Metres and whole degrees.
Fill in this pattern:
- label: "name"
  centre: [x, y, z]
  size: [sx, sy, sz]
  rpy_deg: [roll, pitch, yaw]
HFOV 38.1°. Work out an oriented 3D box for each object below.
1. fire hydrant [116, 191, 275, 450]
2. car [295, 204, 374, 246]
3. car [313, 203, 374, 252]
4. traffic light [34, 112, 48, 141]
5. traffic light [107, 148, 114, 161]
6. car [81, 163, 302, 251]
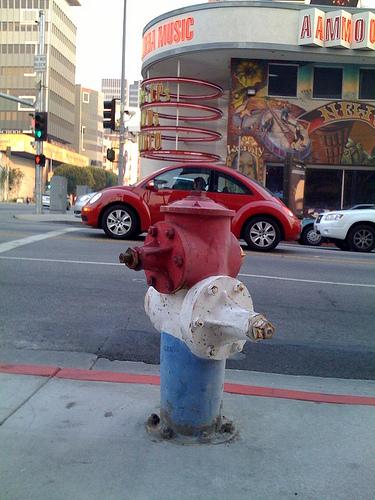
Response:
- label: "fire hydrant"
  centre: [0.000, 0.310, 2.365]
  size: [0.599, 1.131, 0.663]
  rpy_deg: [5, 6, 3]
- label: "car"
  centre: [4.390, -0.762, 16.343]
  size: [2.684, 1.158, 1.258]
  rpy_deg: [1, 0, 1]
- label: "car"
  centre: [4.128, -0.539, 14.066]
  size: [1.784, 0.729, 0.890]
  rpy_deg: [5, 0, 9]
- label: "traffic light"
  centre: [-5.822, -4.939, 21.540]
  size: [0.458, 1.130, 0.796]
  rpy_deg: [3, 6, -15]
- label: "traffic light"
  centre: [-3.357, -4.199, 23.819]
  size: [0.302, 0.520, 0.848]
  rpy_deg: [4, 6, -10]
- label: "car"
  centre: [-0.046, -1.025, 11.766]
  size: [4.440, 1.602, 1.921]
  rpy_deg: [4, 2, 1]
